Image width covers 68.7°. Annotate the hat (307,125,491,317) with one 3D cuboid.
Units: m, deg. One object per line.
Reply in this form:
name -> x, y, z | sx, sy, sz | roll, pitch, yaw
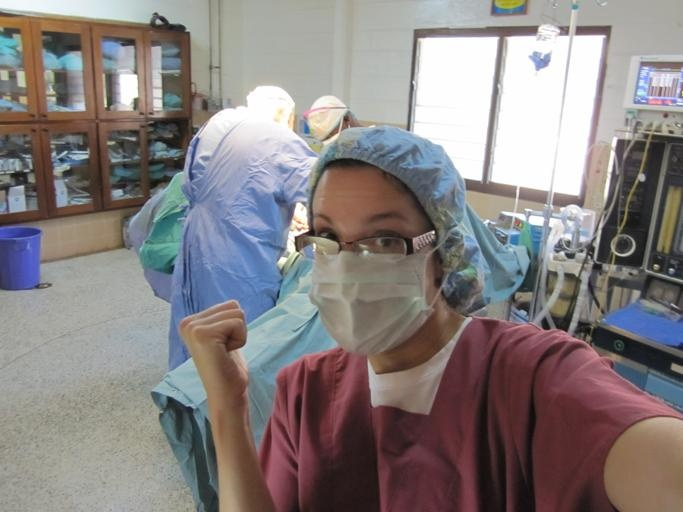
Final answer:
hat -> 0.210, -0.114, 1.224 | 0.337, 0.481, 0.184 | -1, 32, 25
